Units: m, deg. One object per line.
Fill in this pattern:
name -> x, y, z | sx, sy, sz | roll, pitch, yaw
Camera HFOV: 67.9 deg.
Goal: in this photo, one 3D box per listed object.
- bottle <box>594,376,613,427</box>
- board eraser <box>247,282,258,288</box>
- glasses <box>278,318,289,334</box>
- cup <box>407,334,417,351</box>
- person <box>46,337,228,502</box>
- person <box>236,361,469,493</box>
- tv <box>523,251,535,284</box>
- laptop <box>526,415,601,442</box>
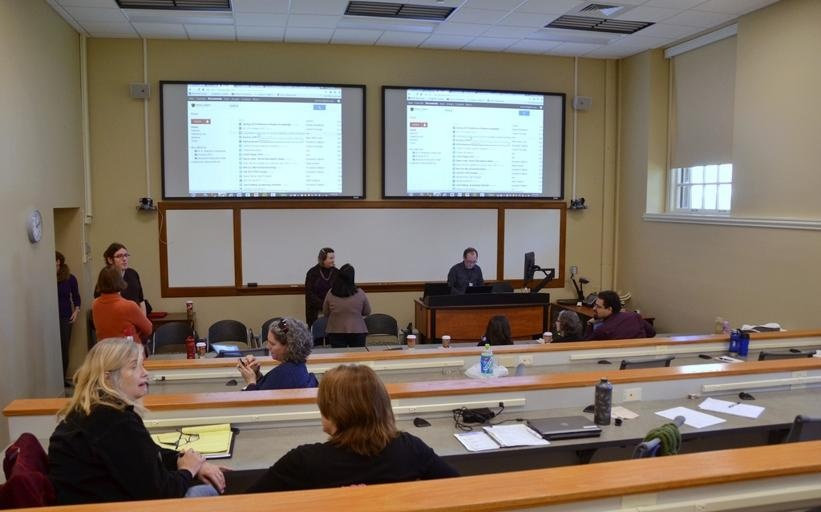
bottle -> 1.500, 1.112, 4.748 | 0.134, 0.343, 0.229 | 0, 7, 17
board eraser -> -2.206, 0.390, 8.508 | 0.131, 0.070, 0.024 | -2, 7, -4
glasses -> -0.993, 0.544, 4.804 | 0.078, 0.085, 0.099 | -6, -13, -11
cup -> 0.014, 0.847, 6.025 | 0.135, 0.127, 0.132 | 0, 0, 0
person -> -1.866, 1.037, 3.897 | 0.807, 0.983, 0.322 | -3, 7, -5
person -> -0.349, 1.048, 3.761 | 1.194, 0.735, 0.275 | -4, 7, -15
tv -> 1.682, 0.158, 8.649 | 0.155, 0.449, 0.466 | 2, 2, 18
laptop -> 1.163, 1.292, 4.616 | 0.528, 0.103, 0.227 | -3, 6, -10
